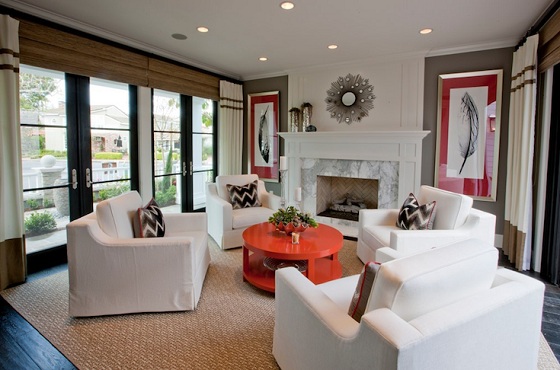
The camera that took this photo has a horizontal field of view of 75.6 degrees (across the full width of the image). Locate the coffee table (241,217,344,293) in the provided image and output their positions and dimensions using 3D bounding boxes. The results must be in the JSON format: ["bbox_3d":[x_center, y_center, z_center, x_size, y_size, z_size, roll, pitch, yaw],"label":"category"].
[{"bbox_3d":[0.120,0.900,4.788,1.324,0.675,1.346,0,14,-25],"label":"coffee table"}]

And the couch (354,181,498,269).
[{"bbox_3d":[1.825,0.547,4.613,1.297,1.292,1.289,1,0,1],"label":"couch"}]

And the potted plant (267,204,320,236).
[{"bbox_3d":[0.150,0.442,4.743,0.572,0.318,0.586,-4,12,-39],"label":"potted plant"}]

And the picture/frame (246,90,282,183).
[{"bbox_3d":[-0.321,-0.973,7.279,0.815,1.775,0.046,6,11,34],"label":"picture/frame"}]

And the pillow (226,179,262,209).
[{"bbox_3d":[-0.609,0.166,5.836,0.437,0.357,0.159,-5,-1,-30],"label":"pillow"}]

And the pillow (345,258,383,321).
[{"bbox_3d":[0.678,0.865,3.021,0.148,0.426,0.412,6,3,24],"label":"pillow"}]

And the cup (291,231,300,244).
[{"bbox_3d":[0.184,0.636,4.395,0.110,0.131,0.113,0,4,0],"label":"cup"}]

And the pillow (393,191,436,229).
[{"bbox_3d":[1.801,0.401,4.881,0.232,0.529,0.630,2,12,-11],"label":"pillow"}]

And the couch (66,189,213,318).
[{"bbox_3d":[-1.618,0.732,4.480,1.344,1.287,1.449,-1,4,-8],"label":"couch"}]
